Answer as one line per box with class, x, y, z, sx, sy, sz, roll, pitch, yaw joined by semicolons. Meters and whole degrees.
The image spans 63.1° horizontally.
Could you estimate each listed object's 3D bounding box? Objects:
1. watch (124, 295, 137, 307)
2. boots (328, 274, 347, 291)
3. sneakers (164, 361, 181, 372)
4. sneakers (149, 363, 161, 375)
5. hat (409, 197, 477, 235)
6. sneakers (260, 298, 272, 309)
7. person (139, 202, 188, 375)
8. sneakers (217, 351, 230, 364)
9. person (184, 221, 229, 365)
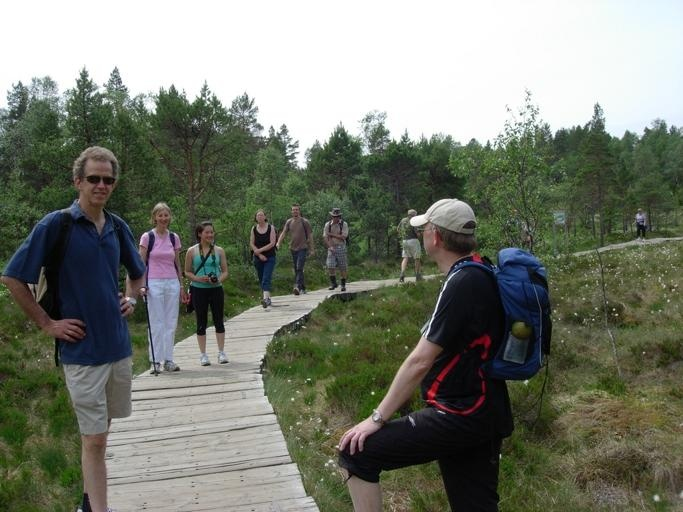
watch;-2.078;0.433;5.504;0.090;0.101;0.097;8;-28;-28
boots;-0.105;0.836;16.878;0.437;0.529;0.429;-2;-6;10
sneakers;-2.689;1.758;8.827;0.238;0.131;0.115;-6;-7;40
sneakers;-2.895;1.769;8.686;0.097;0.133;0.278;2;-12;-15
hat;0.914;-0.339;4.777;0.385;0.246;0.297;9;4;22
sneakers;-1.893;1.219;14.094;0.115;0.176;0.366;-6;-38;1
person;-2.809;0.504;8.744;0.638;2.778;0.403;-3;1;-43
sneakers;-1.978;1.703;9.309;0.136;0.167;0.349;-1;-8;-14
person;-2.209;0.607;9.179;0.655;2.348;0.881;-2;1;-17
